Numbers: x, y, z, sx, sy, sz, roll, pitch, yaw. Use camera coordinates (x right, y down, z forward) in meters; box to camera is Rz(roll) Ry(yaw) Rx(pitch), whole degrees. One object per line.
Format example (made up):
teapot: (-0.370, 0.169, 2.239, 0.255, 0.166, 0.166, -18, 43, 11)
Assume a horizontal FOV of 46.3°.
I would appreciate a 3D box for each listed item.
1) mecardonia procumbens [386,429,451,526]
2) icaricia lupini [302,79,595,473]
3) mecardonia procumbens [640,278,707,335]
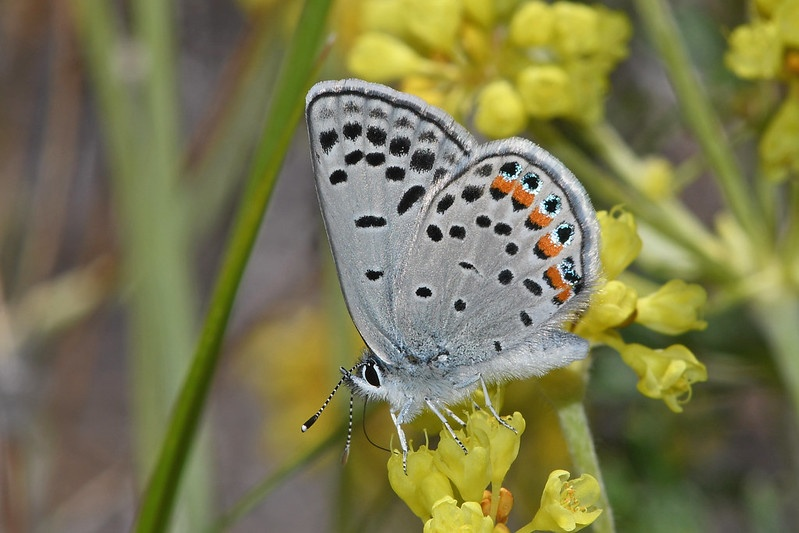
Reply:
mecardonia procumbens: (0.017, 0.184, 0.814, 0.052, 0.029, 0.060, -39, 54, 11)
icaricia lupini: (0.044, -0.003, 0.945, 0.277, 0.343, 0.320, -2, 85, -5)
mecardonia procumbens: (0.245, 0.036, 0.845, 0.059, 0.018, 0.046, 8, 74, 2)
